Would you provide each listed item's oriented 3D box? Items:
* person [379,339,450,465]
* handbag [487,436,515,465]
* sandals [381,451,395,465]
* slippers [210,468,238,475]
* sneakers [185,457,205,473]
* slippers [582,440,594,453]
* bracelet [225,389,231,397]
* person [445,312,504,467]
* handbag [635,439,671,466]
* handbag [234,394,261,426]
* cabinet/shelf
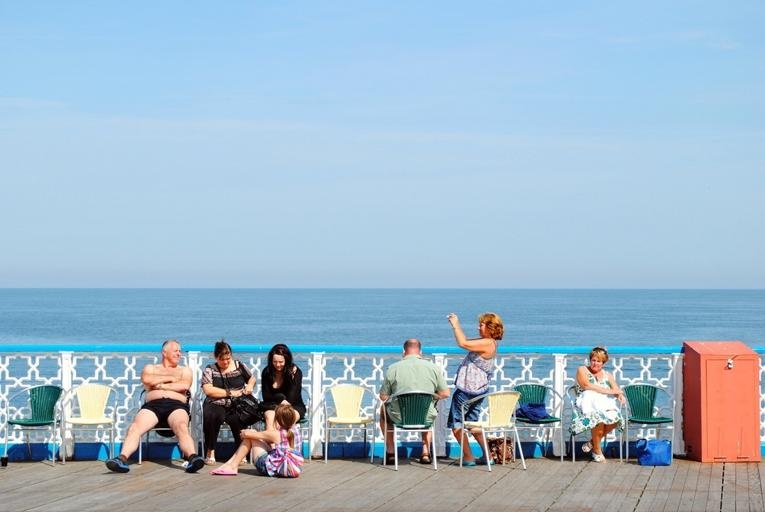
[{"bbox_3d":[0.440,2.153,19.160,0.997,1.811,0.704,0,-1,0],"label":"person"},{"bbox_3d":[1.727,2.895,19.253,0.434,0.338,0.364,-7,-8,28],"label":"handbag"},{"bbox_3d":[0.094,3.014,19.339,0.263,0.208,0.171,2,-6,-17],"label":"sandals"},{"bbox_3d":[-2.261,3.113,18.717,0.272,0.057,0.137,7,-12,-12],"label":"slippers"},{"bbox_3d":[-2.702,3.017,18.816,0.361,0.139,0.142,-20,-12,18],"label":"sneakers"},{"bbox_3d":[3.053,2.859,19.520,0.130,0.201,0.067,-2,-11,10],"label":"slippers"},{"bbox_3d":[-2.259,2.022,19.183,0.076,0.105,0.039,0,6,3],"label":"bracelet"},{"bbox_3d":[1.343,1.970,19.161,0.775,2.222,0.731,0,-1,2],"label":"person"},{"bbox_3d":[3.964,2.898,19.234,0.715,0.410,0.353,-2,-14,10],"label":"handbag"},{"bbox_3d":[-1.997,2.275,19.169,0.350,0.343,0.273,-39,-30,4],"label":"handbag"},{"bbox_3d":[4.950,2.160,19.217,1.104,1.728,0.400,0,-1,10],"label":"cabinet/shelf"}]
